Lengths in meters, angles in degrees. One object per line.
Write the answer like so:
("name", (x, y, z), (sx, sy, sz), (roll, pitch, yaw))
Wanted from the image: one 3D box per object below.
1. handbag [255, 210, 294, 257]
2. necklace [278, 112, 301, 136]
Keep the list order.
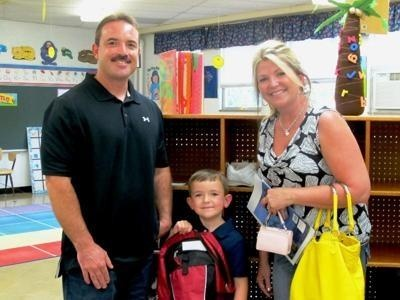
("handbag", (0.381, 0.452, 1.841), (0.168, 0.118, 0.121), (2, 6, 20))
("necklace", (0.472, -0.134, 1.891), (0.044, 0.111, 0.110), (39, -25, -33))
